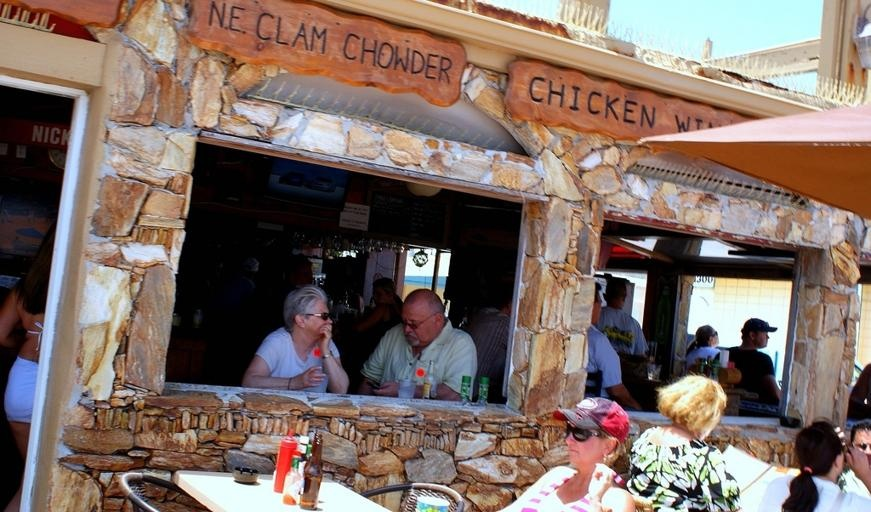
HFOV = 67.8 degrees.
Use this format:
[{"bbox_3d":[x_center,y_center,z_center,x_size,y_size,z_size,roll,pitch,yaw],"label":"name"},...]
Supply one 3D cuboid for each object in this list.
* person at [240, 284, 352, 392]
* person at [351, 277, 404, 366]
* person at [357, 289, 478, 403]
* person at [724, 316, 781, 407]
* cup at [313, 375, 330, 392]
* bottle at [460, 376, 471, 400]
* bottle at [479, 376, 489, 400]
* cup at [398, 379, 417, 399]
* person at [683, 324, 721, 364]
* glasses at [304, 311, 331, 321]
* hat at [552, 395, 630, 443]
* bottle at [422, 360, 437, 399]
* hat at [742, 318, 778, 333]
[{"bbox_3d":[-1.332,0.826,6.470,0.952,1.022,0.462,8,-6,-5],"label":"person"},{"bbox_3d":[-0.920,1.101,9.773,0.874,1.394,0.779,9,0,-8],"label":"person"},{"bbox_3d":[0.067,1.030,7.364,1.540,1.150,1.170,4,-4,34],"label":"person"},{"bbox_3d":[4.702,1.512,9.579,0.690,1.197,1.425,4,-6,26],"label":"person"},{"bbox_3d":[-1.149,1.275,6.496,0.153,0.205,0.545,8,-6,-8],"label":"cup"},{"bbox_3d":[0.318,1.368,6.702,0.101,0.237,0.150,7,-6,3],"label":"bottle"},{"bbox_3d":[0.487,1.355,6.605,0.077,0.239,0.144,8,-6,-1],"label":"bottle"},{"bbox_3d":[-0.283,1.346,6.562,0.180,0.132,0.181,2,2,0],"label":"cup"},{"bbox_3d":[4.328,1.463,10.627,0.413,0.525,0.811,2,-3,-24],"label":"person"},{"bbox_3d":[-1.152,0.611,6.575,0.131,0.079,0.346,2,-7,36],"label":"glasses"},{"bbox_3d":[1.153,1.196,4.809,0.361,0.490,0.256,-1,-4,-38],"label":"hat"},{"bbox_3d":[-0.070,1.283,6.762,0.147,0.364,0.397,7,-6,1],"label":"bottle"},{"bbox_3d":[4.890,1.061,9.720,0.436,0.152,0.263,-1,1,-3],"label":"hat"}]
